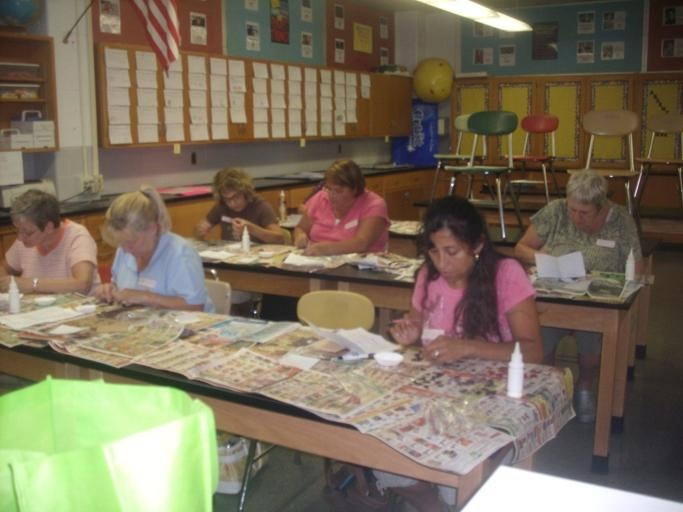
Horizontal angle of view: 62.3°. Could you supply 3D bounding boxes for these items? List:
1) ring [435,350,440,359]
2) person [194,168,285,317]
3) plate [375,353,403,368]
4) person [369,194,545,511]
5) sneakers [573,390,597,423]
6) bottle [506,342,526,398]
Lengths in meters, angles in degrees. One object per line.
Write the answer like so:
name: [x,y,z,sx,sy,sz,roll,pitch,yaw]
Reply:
ring: [0.326,0.336,1.941,0.021,0.023,0.011,8,17,31]
person: [-0.781,-0.049,4.522,0.715,1.247,0.647,-14,26,-28]
plate: [0.165,0.350,1.936,0.104,0.036,0.078,-1,14,-2]
person: [0.466,0.340,2.182,0.569,1.118,0.747,3,15,14]
sneakers: [1.455,0.885,3.399,0.147,0.164,0.416,1,-4,18]
bottle: [0.526,0.337,1.700,0.048,0.153,0.113,4,15,18]
